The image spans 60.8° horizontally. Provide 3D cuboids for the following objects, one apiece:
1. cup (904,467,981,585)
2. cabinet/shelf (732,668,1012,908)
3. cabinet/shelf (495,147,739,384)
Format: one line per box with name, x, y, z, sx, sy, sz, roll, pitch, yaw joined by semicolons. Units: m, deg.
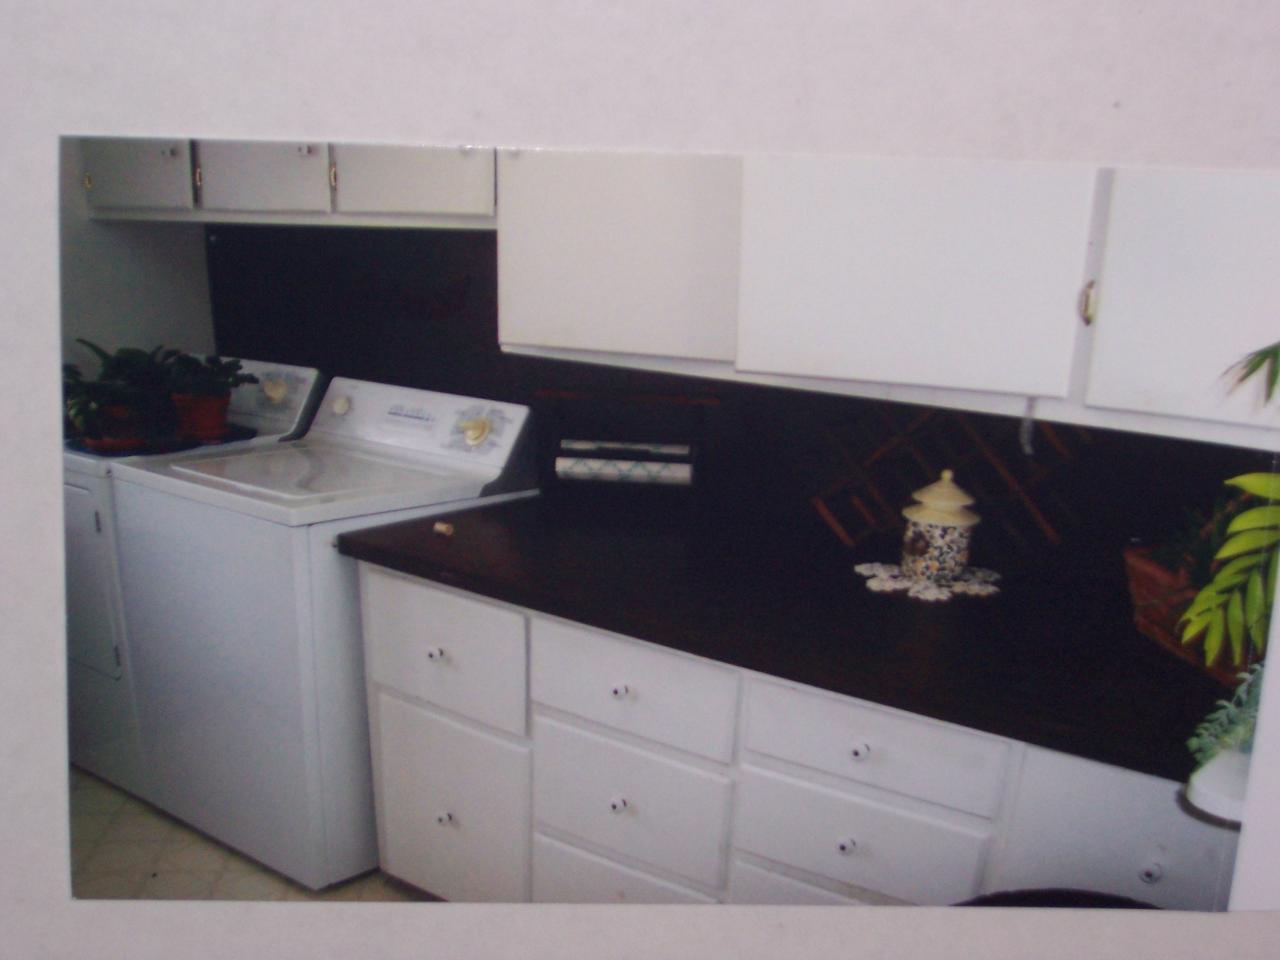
cup;0.473;0.078;1.689;0.124;0.177;0.122;0;18;0
cabinet/shelf;0.336;0.440;1.600;0.373;0.347;0.251;11;14;14
cabinet/shelf;-0.016;-0.319;1.713;0.476;0.349;0.259;4;19;10
